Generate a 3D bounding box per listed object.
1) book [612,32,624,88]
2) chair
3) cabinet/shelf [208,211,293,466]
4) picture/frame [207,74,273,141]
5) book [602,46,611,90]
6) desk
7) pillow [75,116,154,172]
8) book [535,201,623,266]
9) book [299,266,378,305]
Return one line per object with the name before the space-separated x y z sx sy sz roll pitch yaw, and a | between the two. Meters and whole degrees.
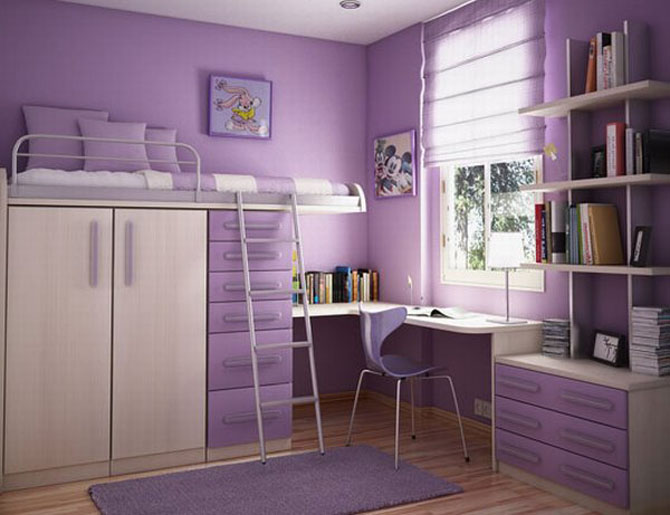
book | 1.606 -1.126 3.101 0.071 0.303 0.039 0 2 14
chair | 0.363 0.834 4.382 0.957 1.670 1.043 0 -1 -20
cabinet/shelf | -0.585 0.520 3.823 0.632 1.695 0.211 -1 2 -22
picture/frame | -0.854 -1.294 4.808 0.679 0.647 0.074 4 7 21
book | 1.559 -1.097 3.139 0.050 0.238 0.015 2 3 44
desk | 0.530 0.984 4.494 0.994 0.719 1.350 3 -3 -31
pillow | -1.694 -0.851 4.150 0.531 0.502 0.194 2 -18 -24
book | 1.556 -0.094 3.437 0.504 0.492 0.356 2 -4 -38
book | 0.081 0.272 4.935 0.729 0.266 0.105 -1 2 -31
